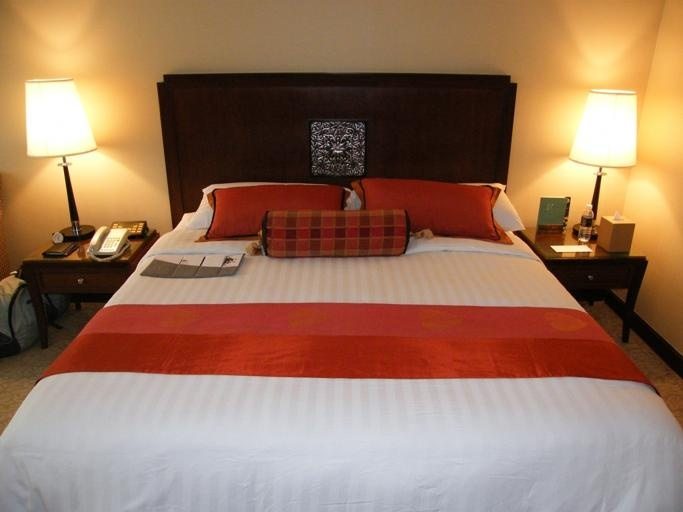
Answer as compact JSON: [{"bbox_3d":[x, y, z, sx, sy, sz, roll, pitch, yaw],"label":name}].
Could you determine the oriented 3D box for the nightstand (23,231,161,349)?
[{"bbox_3d":[-1.668,0.320,3.521,0.930,0.797,0.702,-1,31,-4],"label":"nightstand"}]

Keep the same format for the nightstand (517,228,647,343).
[{"bbox_3d":[1.689,0.105,3.493,0.796,0.765,0.785,-1,29,1],"label":"nightstand"}]
